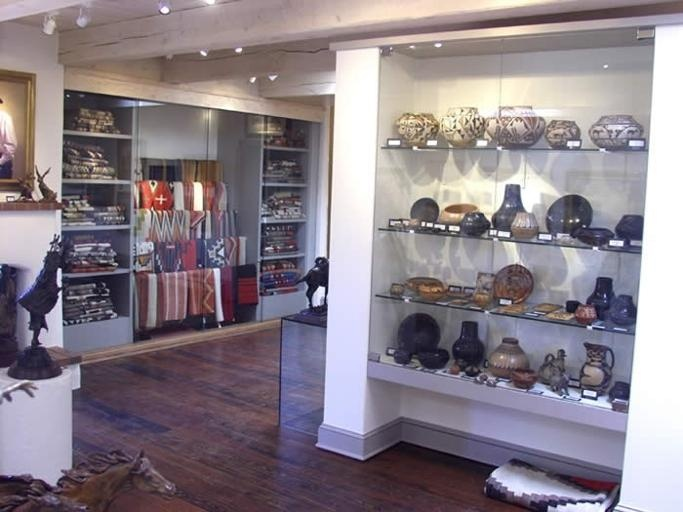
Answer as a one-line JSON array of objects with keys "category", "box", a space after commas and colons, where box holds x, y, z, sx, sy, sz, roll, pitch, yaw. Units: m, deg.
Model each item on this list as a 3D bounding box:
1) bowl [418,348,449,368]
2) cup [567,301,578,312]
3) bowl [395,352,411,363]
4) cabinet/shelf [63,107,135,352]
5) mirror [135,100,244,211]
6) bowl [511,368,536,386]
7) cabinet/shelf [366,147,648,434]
[{"category": "bowl", "box": [0.625, 0.666, 3.520, 0.136, 0.083, 0.143, -2, 3, 0]}, {"category": "cup", "box": [1.402, 0.307, 3.200, 0.059, 0.061, 0.062, 1, 4, 0]}, {"category": "bowl", "box": [0.422, 0.700, 3.602, 0.083, 0.056, 0.086, 0, 7, 0]}, {"category": "cabinet/shelf", "box": [-2.577, -0.244, 5.301, 0.992, 2.539, 0.561, 0, -4, -22]}, {"category": "mirror", "box": [-1.840, -1.209, 6.186, 0.106, 1.176, 1.311, 6, 7, 42]}, {"category": "bowl", "box": [1.113, 0.748, 3.233, 0.105, 0.076, 0.103, 1, 5, 0]}, {"category": "cabinet/shelf", "box": [1.070, 0.145, 3.295, 1.724, 1.632, 0.455, 5, 3, 33]}]
